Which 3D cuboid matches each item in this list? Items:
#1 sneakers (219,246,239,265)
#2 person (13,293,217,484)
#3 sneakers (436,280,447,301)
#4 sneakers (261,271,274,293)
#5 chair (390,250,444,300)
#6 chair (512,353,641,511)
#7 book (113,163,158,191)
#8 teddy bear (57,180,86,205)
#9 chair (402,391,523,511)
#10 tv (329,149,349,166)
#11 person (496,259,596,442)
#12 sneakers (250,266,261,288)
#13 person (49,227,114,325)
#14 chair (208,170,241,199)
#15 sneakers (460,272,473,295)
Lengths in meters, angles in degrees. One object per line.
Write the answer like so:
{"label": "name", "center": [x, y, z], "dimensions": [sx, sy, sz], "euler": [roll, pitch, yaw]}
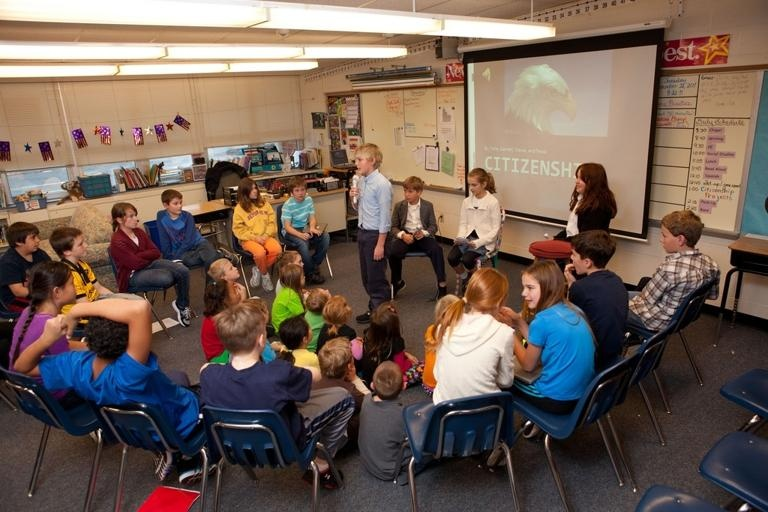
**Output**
{"label": "sneakers", "center": [-2.004, -0.002, 6.323], "dimensions": [0.091, 0.273, 0.113], "euler": [-50, 26, -5]}
{"label": "person", "center": [-1.849, 1.027, 3.652], "dimensions": [0.909, 1.745, 0.908], "euler": [-11, 24, -6]}
{"label": "sneakers", "center": [0.707, 0.420, 5.895], "dimensions": [0.091, 0.116, 0.268], "euler": [1, 44, 4]}
{"label": "sneakers", "center": [-1.523, 0.353, 6.359], "dimensions": [0.111, 0.266, 0.110], "euler": [-16, -14, -29]}
{"label": "chair", "center": [0.335, 0.213, 6.390], "dimensions": [1.064, 0.478, 1.009], "euler": [-1, 3, -2]}
{"label": "chair", "center": [1.349, 1.271, 3.467], "dimensions": [0.684, 0.995, 0.704], "euler": [-18, 27, -30]}
{"label": "book", "center": [-4.142, -1.357, 8.319], "dimensions": [0.753, 0.366, 0.375], "euler": [-19, 24, -33]}
{"label": "teddy bear", "center": [-4.876, -1.006, 7.636], "dimensions": [0.314, 0.179, 0.407], "euler": [-5, 13, -26]}
{"label": "chair", "center": [0.531, 1.358, 3.334], "dimensions": [0.561, 0.829, 0.601], "euler": [-6, 42, 0]}
{"label": "tv", "center": [-0.827, -1.703, 8.467], "dimensions": [0.314, 0.300, 0.081], "euler": [-13, 13, -36]}
{"label": "person", "center": [1.157, 0.753, 3.630], "dimensions": [0.530, 1.399, 0.816], "euler": [-8, 15, -36]}
{"label": "sneakers", "center": [-1.693, 0.285, 6.477], "dimensions": [0.137, 0.339, 0.131], "euler": [-8, -4, 15]}
{"label": "person", "center": [-2.860, 0.181, 4.768], "dimensions": [0.653, 0.929, 0.559], "euler": [5, 19, -10]}
{"label": "chair", "center": [-2.554, -1.157, 7.866], "dimensions": [0.463, 0.509, 0.434], "euler": [-15, -23, -21]}
{"label": "sneakers", "center": [0.795, 0.246, 4.698], "dimensions": [0.088, 0.273, 0.112], "euler": [13, 0, 35]}
